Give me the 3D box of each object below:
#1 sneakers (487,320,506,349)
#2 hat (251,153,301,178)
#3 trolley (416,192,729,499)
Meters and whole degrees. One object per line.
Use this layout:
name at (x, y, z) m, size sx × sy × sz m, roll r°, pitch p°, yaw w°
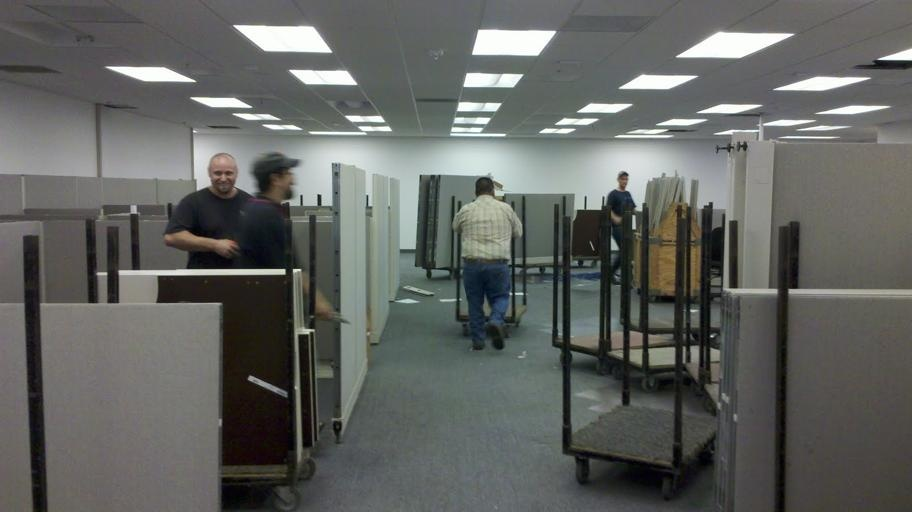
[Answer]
sneakers at (0.442, 0.862, 7.601) m, size 0.148 × 0.370 × 0.175 m, roll -10°, pitch 14°, yaw 12°
hat at (-1.521, -0.776, 5.744) m, size 0.317 × 0.091 × 0.215 m, roll -12°, pitch 12°, yaw -22°
trolley at (1.572, 0.708, 6.161) m, size 1.364 × 2.262 × 1.887 m, roll 1°, pitch 5°, yaw 7°
